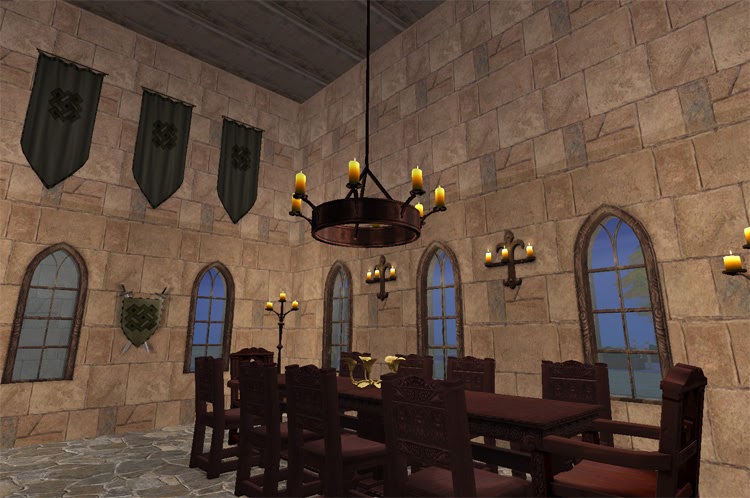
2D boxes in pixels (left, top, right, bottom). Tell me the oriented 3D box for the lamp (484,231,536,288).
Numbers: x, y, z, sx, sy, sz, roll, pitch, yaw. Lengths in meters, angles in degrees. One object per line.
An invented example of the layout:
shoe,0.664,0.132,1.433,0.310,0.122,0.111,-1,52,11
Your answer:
lamp,1.947,0.143,6.409,0.699,0.876,0.169,-6,-5,36
